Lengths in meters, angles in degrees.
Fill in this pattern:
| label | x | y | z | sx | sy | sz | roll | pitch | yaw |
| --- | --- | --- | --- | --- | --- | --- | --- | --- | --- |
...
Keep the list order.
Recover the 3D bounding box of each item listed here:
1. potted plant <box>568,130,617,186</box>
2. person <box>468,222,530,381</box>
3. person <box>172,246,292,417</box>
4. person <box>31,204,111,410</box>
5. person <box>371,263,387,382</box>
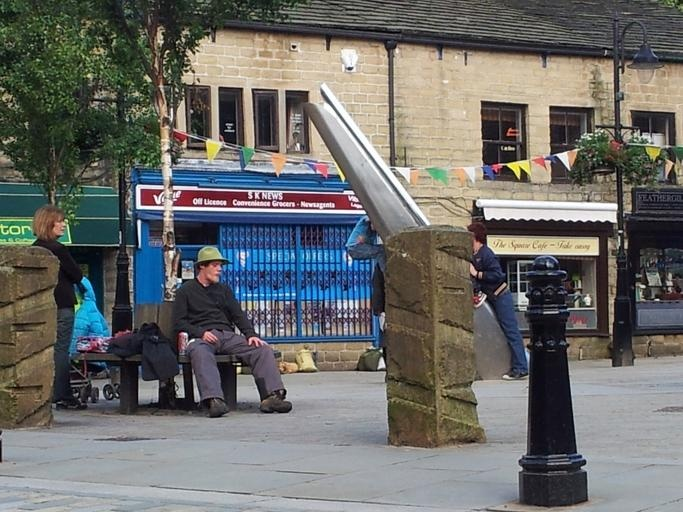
| label | x | y | z | sx | sy | sz | roll | pitch | yaw |
| --- | --- | --- | --- | --- | --- | --- | --- | --- | --- |
| potted plant | 5.445 | -2.067 | 39.036 | 0.811 | 0.883 | 0.905 | -3 | -1 | -11 |
| person | 2.624 | 0.780 | 31.093 | 0.889 | 2.232 | 0.712 | -3 | 1 | 4 |
| person | -1.748 | 1.142 | 27.796 | 1.505 | 2.309 | 1.021 | -3 | 1 | -11 |
| person | -4.164 | 0.800 | 28.031 | 1.111 | 2.856 | 0.853 | 0 | -1 | 1 |
| person | 0.696 | 1.074 | 30.078 | 0.304 | 1.806 | 0.412 | 0 | 2 | -25 |
